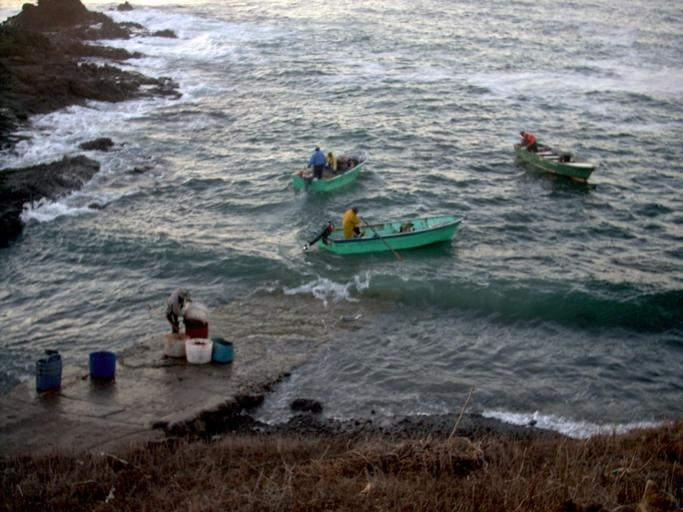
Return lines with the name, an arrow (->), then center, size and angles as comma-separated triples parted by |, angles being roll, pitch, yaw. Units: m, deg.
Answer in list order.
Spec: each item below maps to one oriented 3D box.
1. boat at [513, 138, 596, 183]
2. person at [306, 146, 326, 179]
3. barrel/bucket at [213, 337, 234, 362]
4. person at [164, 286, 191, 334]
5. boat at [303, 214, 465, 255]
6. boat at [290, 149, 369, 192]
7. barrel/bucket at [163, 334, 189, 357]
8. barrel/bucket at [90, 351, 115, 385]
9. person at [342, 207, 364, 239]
boat -> 12.548, -5.321, 54.086 | 1.846, 1.920, 5.141 | -7, 12, -27
person -> -1.249, -5.137, 51.370 | 0.996, 1.750, 0.925 | -6, 15, -22
barrel/bucket -> -5.019, 3.896, 39.347 | 1.067, 0.850, 0.950 | 7, 18, 16
person -> -6.877, 2.296, 39.290 | 0.984, 1.940, 0.431 | 1, 14, 5
boat -> 2.564, -0.886, 47.027 | 7.969, 1.547, 1.959 | -9, 44, -1
boat -> -0.295, -4.557, 52.129 | 4.716, 0.909, 1.807 | -30, 55, -32
barrel/bucket -> -6.950, 3.709, 39.335 | 1.007, 0.625, 0.953 | 2, 5, 0
barrel/bucket -> -9.897, 4.472, 38.171 | 1.304, 1.060, 1.176 | -6, 20, -28
person -> 0.576, -1.683, 45.980 | 0.826, 1.598, 1.041 | 6, 15, 25
